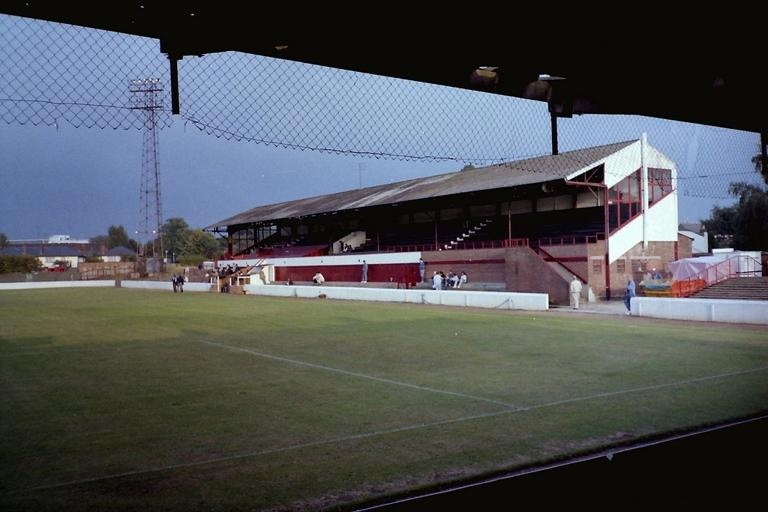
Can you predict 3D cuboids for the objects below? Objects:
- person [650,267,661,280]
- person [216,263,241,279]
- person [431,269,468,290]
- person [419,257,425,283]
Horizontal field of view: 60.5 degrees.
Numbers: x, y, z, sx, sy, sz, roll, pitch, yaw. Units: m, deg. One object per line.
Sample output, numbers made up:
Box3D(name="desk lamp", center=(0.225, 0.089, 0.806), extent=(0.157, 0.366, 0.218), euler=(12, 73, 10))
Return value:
Box3D(name="person", center=(15.188, 1.018, 36.956), extent=(0.416, 0.506, 0.793), euler=(-6, 3, 4))
Box3D(name="person", center=(-13.549, 1.357, 57.122), extent=(1.607, 0.684, 2.045), euler=(-4, 5, -33))
Box3D(name="person", center=(3.917, 1.483, 39.637), extent=(1.717, 0.753, 1.148), euler=(0, 1, -5))
Box3D(name="person", center=(2.550, 0.910, 43.285), extent=(0.402, 1.559, 0.764), euler=(-1, 4, 0))
